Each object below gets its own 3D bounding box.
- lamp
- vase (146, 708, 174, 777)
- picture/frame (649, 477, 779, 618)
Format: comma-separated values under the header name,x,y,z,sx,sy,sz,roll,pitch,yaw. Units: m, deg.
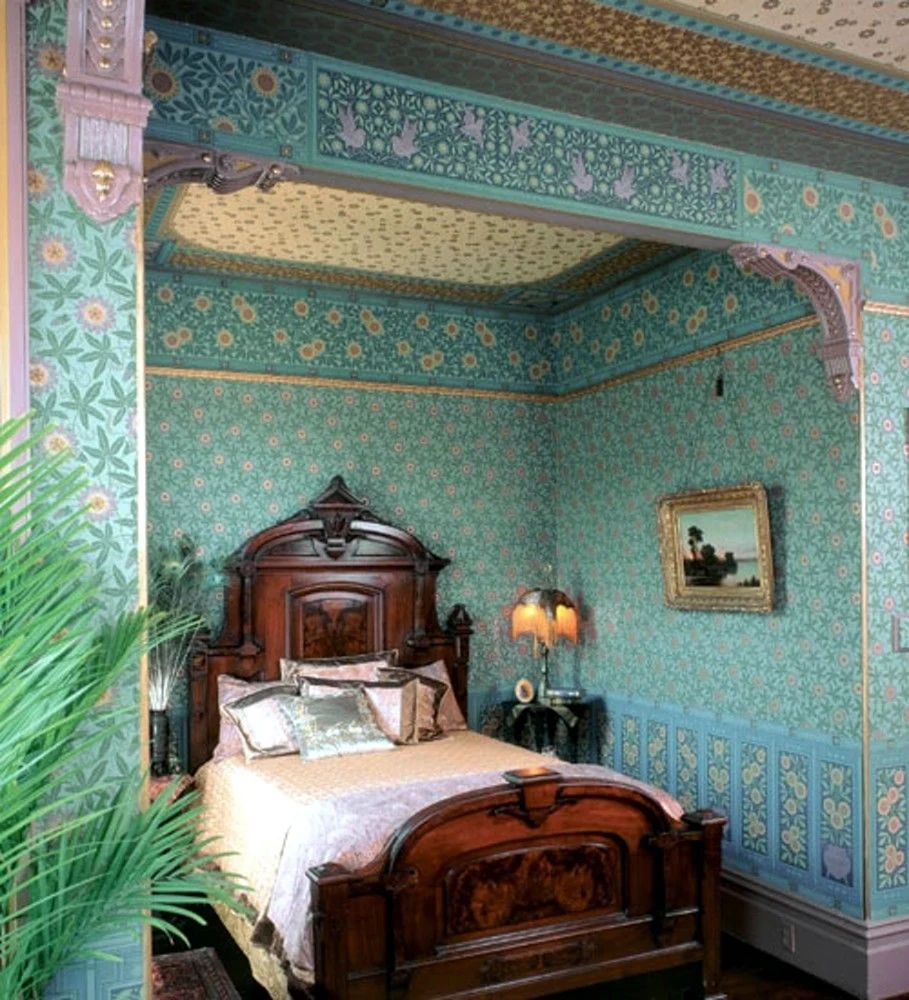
name,x,y,z,sx,sy,sz,roll,pitch,yaw
lamp,0.626,1.185,6.960,0.586,0.815,0.568,-13,-7,9
vase,-1.812,1.482,5.271,0.100,0.383,0.173,0,-4,-22
picture/frame,1.606,0.295,5.292,1.079,0.770,0.054,0,-6,-37
